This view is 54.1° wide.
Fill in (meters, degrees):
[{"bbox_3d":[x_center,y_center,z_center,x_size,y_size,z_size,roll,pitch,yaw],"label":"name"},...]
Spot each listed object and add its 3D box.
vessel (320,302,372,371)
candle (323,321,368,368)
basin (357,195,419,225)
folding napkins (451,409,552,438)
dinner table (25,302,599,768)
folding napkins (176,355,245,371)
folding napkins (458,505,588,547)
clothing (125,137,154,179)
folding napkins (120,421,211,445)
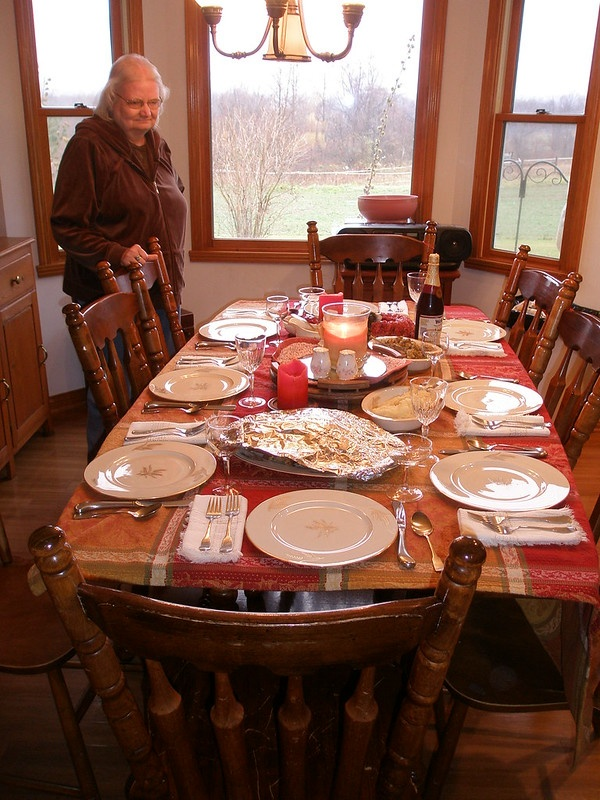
[{"bbox_3d":[0.105,-0.167,1.485,0.152,0.172,0.173,1,34,3],"label":"vessel"},{"bbox_3d":[0.105,-0.148,1.452,0.109,0.116,0.108,-2,32,0],"label":"candle"},{"bbox_3d":[0.484,-1.046,3.275,0.226,0.091,0.210,0,32,0],"label":"basin"},{"bbox_3d":[0.413,0.053,1.206,0.144,0.023,0.079,0,29,6],"label":"folding napkins"},{"bbox_3d":[0.029,0.183,0.841,0.545,0.147,0.640,2,36,2],"label":"dinner table"},{"bbox_3d":[-0.254,-0.103,1.602,0.128,0.020,0.068,-1,14,-1],"label":"folding napkins"},{"bbox_3d":[0.311,0.199,0.865,0.194,0.036,0.110,-2,18,1],"label":"folding napkins"},{"bbox_3d":[-0.661,-1.004,2.448,0.103,0.136,0.093,-10,6,-6],"label":"clothing"},{"bbox_3d":[-0.275,0.064,1.176,0.126,0.017,0.071,0,23,2],"label":"folding napkins"}]
